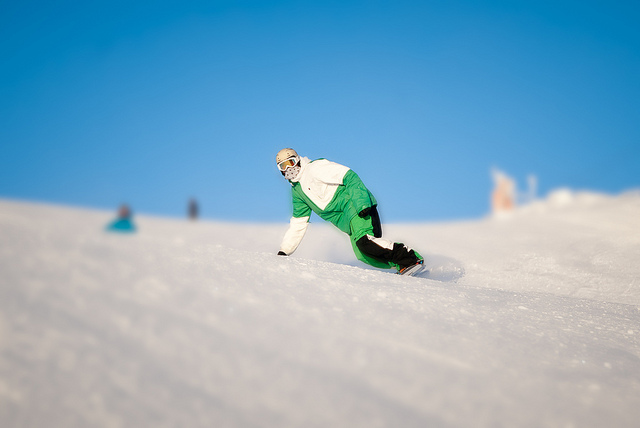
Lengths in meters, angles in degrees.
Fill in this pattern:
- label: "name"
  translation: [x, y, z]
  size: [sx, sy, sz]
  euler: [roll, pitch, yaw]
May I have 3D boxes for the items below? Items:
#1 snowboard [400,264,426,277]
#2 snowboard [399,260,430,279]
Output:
- label: "snowboard"
  translation: [1.124, 0.678, 7.486]
  size: [0.190, 0.065, 0.191]
  euler: [-13, -8, -3]
- label: "snowboard"
  translation: [1.173, 0.659, 7.607]
  size: [0.225, 0.254, 0.459]
  euler: [9, 6, 27]
